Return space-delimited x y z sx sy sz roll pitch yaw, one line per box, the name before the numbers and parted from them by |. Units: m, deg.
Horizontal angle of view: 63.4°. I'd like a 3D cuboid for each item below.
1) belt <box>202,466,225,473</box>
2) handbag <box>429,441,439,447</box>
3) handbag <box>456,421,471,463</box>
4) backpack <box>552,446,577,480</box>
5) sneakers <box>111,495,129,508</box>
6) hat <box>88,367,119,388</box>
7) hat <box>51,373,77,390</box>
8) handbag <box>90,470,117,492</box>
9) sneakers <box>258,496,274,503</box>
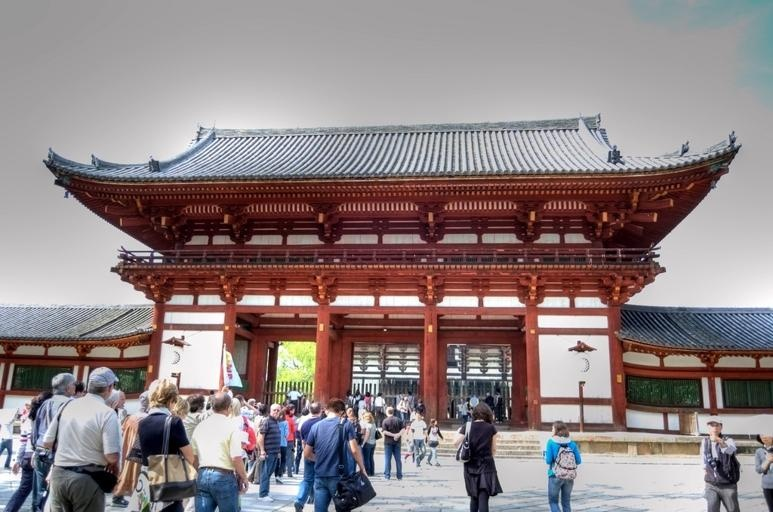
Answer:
belt | -2.944 3.539 10.497 0.353 0.060 0.066 -4 -21 14
handbag | 1.369 5.384 18.067 0.275 0.163 0.186 2 -19 1
handbag | 1.469 3.463 11.768 0.296 0.753 0.356 -1 -21 5
backpack | 3.544 4.096 12.440 0.686 0.699 0.420 2 -13 -1
sneakers | -5.662 5.145 13.192 0.298 0.215 0.429 9 -21 -22
hat | -4.676 1.982 10.290 0.348 0.232 0.424 5 16 -6
hat | -5.741 2.192 11.059 0.348 0.334 0.684 11 -22 -25
handbag | -4.473 3.536 9.904 0.206 0.317 0.400 -15 -25 35
sneakers | -2.648 5.310 13.789 0.316 0.102 0.308 13 -23 -32
